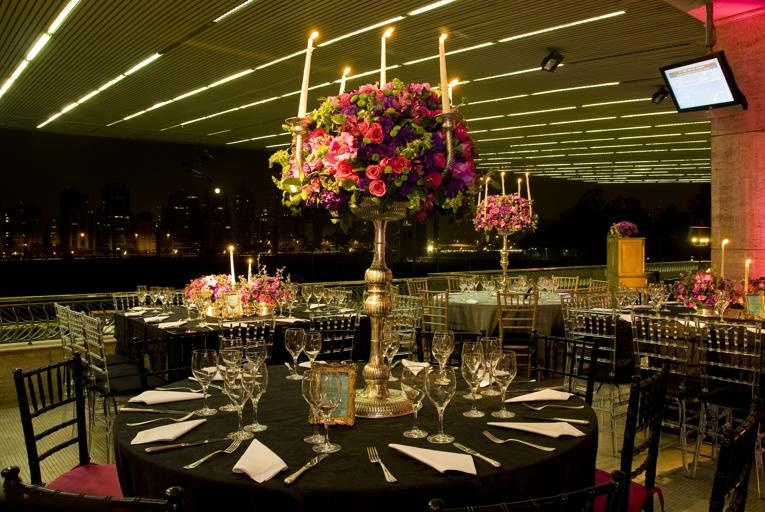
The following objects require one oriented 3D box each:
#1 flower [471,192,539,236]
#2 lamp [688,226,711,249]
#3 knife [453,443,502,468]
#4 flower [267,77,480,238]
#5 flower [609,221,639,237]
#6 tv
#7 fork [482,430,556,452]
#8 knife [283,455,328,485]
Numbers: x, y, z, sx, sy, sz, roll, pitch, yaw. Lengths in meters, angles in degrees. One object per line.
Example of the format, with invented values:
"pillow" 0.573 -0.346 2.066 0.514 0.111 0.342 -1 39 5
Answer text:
"flower" 1.918 -0.568 8.579 0.826 0.539 0.829 0 3 24
"lamp" 10.545 -0.655 18.164 0.475 0.712 1.291 2 5 18
"knife" 0.517 1.081 3.001 0.074 0.023 0.418 -13 9 -21
"flower" -0.030 -0.572 3.517 0.994 0.702 0.982 0 2 -20
"flower" 5.284 -0.591 11.922 0.451 0.333 0.761 1 5 14
"tv" 4.080 -2.218 6.988 0.876 0.637 0.449 5 6 42
"fork" 0.791 1.063 3.121 0.337 0.051 0.047 -1 29 29
"knife" -0.388 1.105 2.878 0.060 0.033 0.419 8 9 22
